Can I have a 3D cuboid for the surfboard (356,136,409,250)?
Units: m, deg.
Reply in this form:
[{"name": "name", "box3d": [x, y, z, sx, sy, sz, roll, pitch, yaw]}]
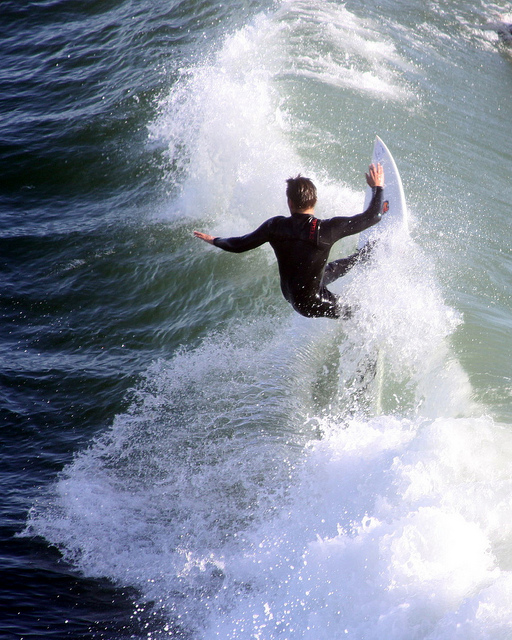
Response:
[{"name": "surfboard", "box3d": [1.810, -1.791, 15.485, 0.236, 0.431, 2.168, 21, 48, -32]}]
